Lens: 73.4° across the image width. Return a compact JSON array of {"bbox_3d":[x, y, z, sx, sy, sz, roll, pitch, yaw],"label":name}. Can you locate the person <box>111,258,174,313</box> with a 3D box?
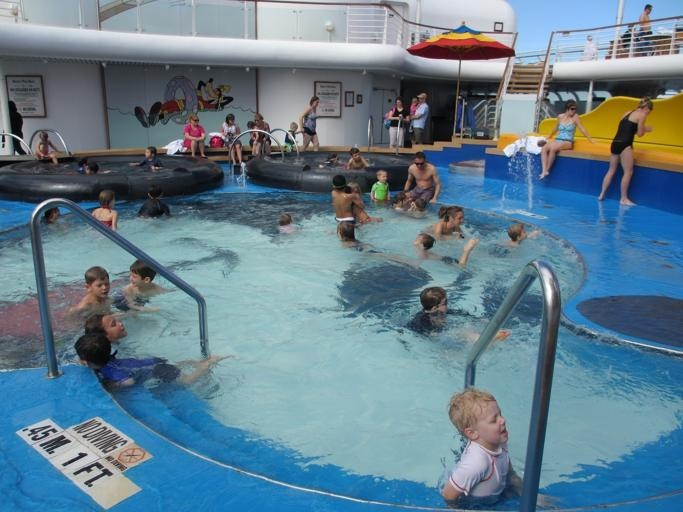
[{"bbox_3d":[-2.308,0.317,5.440,0.602,0.885,0.531,-3,44,-14],"label":"person"}]

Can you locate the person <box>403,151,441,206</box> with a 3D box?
[{"bbox_3d":[1.722,-1.656,9.690,0.727,1.067,1.856,2,18,9],"label":"person"}]

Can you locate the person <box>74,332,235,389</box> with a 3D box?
[{"bbox_3d":[-1.633,0.904,3.901,1.305,0.386,0.445,12,-5,-42],"label":"person"}]

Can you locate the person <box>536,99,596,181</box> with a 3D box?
[{"bbox_3d":[5.460,-2.929,11.496,1.269,1.707,1.365,-24,35,-20],"label":"person"}]

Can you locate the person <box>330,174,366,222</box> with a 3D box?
[{"bbox_3d":[0.130,-0.948,7.888,0.589,0.920,0.537,0,21,3],"label":"person"}]

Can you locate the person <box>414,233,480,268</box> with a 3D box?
[{"bbox_3d":[1.578,-0.135,6.690,0.994,0.435,0.602,14,24,39],"label":"person"}]

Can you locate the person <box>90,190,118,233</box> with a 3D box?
[{"bbox_3d":[-3.706,-0.690,7.107,0.339,0.581,0.879,-12,21,-26],"label":"person"}]

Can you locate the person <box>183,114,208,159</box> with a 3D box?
[{"bbox_3d":[-4.528,-3.603,13.810,0.624,1.209,0.728,-7,21,-16],"label":"person"}]

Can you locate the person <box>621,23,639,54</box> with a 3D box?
[{"bbox_3d":[10.688,-7.914,16.925,0.523,0.959,1.705,9,21,26],"label":"person"}]

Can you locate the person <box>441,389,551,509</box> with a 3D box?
[{"bbox_3d":[0.829,1.135,2.669,0.571,0.709,0.397,-10,22,-22],"label":"person"}]

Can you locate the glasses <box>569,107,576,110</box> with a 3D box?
[{"bbox_3d":[5.600,-3.523,11.041,0.116,0.026,0.100,-3,10,-13],"label":"glasses"}]

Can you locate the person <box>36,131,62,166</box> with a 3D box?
[{"bbox_3d":[-7.790,-2.784,11.896,0.482,0.757,1.192,-14,22,-30],"label":"person"}]

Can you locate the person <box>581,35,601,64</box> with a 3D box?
[{"bbox_3d":[9.758,-8.096,17.845,0.487,1.073,2.690,9,20,24],"label":"person"}]

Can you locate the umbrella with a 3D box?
[{"bbox_3d":[3.733,-5.555,14.852,2.711,3.326,4.306,2,19,8],"label":"umbrella"}]

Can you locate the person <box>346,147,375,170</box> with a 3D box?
[{"bbox_3d":[0.388,-2.399,11.321,0.499,0.484,1.031,-1,18,0],"label":"person"}]
